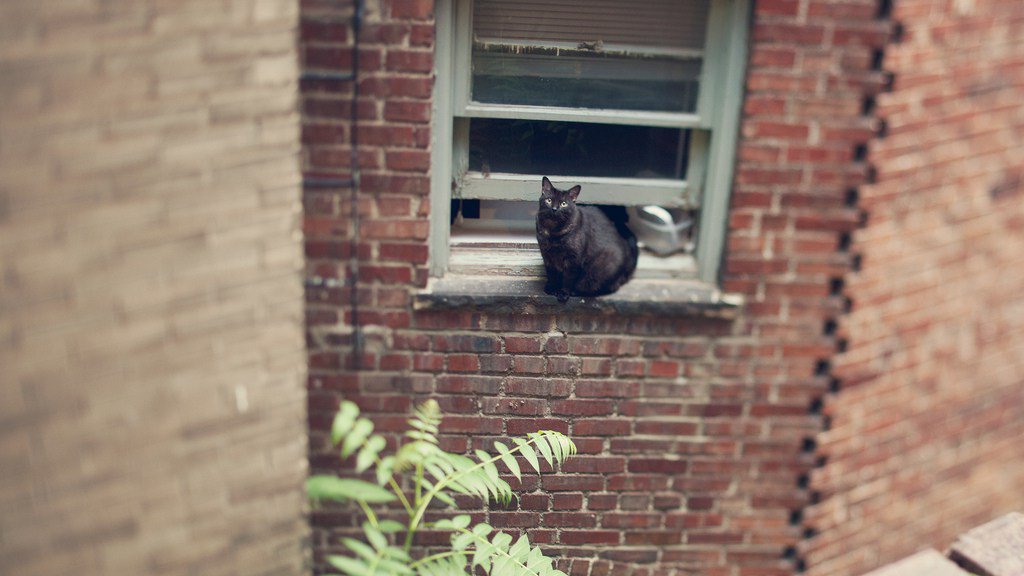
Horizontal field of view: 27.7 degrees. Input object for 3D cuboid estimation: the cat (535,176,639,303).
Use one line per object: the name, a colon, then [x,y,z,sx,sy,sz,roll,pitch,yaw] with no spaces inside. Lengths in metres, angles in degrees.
cat: [0.381,-0.247,11.276,0.686,0.632,0.459,1,5,-42]
